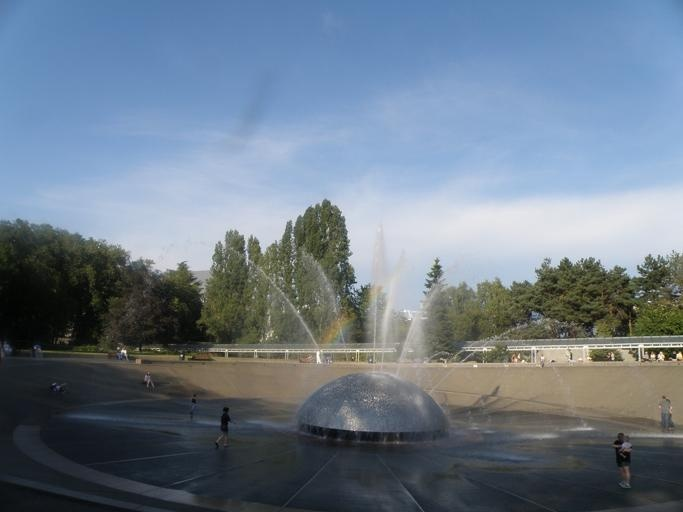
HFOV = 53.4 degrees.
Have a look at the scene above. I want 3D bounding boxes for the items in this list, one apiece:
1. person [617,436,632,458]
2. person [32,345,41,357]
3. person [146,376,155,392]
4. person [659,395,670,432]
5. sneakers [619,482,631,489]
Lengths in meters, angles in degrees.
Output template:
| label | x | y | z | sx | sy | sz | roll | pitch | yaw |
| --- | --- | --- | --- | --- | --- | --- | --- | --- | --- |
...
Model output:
| label | x | y | z | sx | sy | sz | roll | pitch | yaw |
| --- | --- | --- | --- | --- | --- | --- | --- | --- | --- |
| person | 10.789 | 7.165 | 25.614 | 0.342 | 0.819 | 1.114 | -2 | -11 | 29 |
| person | -26.274 | 8.004 | 58.328 | 0.782 | 1.112 | 2.859 | -2 | 2 | -23 |
| person | -12.840 | 8.433 | 45.594 | 0.540 | 0.987 | 1.304 | 6 | -10 | -15 |
| person | 16.325 | 7.851 | 34.069 | 0.390 | 1.684 | 1.234 | -1 | -10 | 27 |
| sneakers | 10.576 | 8.464 | 25.241 | 0.162 | 0.199 | 0.455 | -1 | -2 | -5 |
